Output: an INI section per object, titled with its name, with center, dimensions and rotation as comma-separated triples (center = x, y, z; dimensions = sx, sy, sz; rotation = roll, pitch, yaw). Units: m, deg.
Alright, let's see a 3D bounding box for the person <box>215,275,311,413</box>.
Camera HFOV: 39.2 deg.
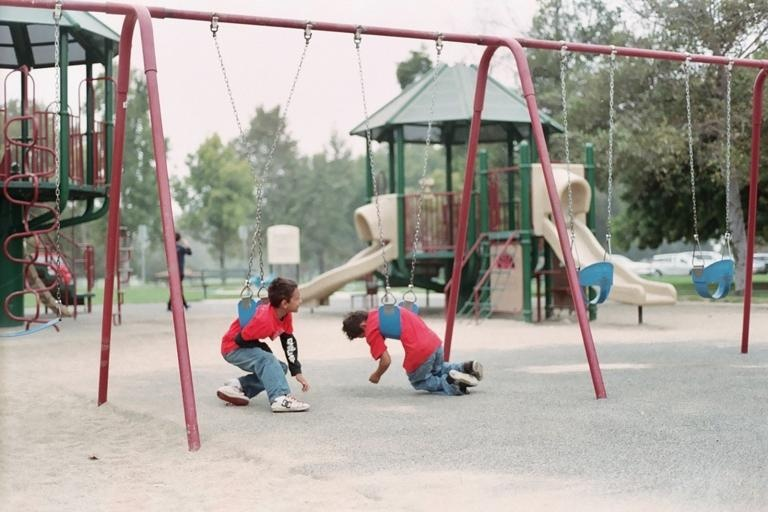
[person]
center = -1.932, 1.443, 17.382
dimensions = 1.348, 2.130, 0.589
rotation = -1, 2, -5
